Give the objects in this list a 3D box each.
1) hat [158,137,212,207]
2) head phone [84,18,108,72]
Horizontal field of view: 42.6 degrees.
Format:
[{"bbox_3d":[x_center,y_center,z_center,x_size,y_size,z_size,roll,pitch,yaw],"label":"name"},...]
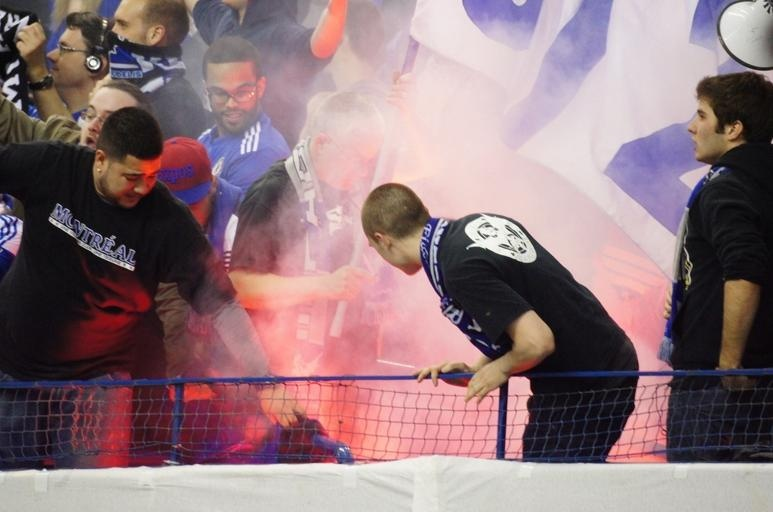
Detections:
[{"bbox_3d":[-1.434,-0.586,7.169,0.375,0.520,0.300,-11,-20,-5],"label":"hat"},{"bbox_3d":[-2.139,-1.566,7.306,0.121,0.332,0.355,11,-4,-1],"label":"head phone"}]
